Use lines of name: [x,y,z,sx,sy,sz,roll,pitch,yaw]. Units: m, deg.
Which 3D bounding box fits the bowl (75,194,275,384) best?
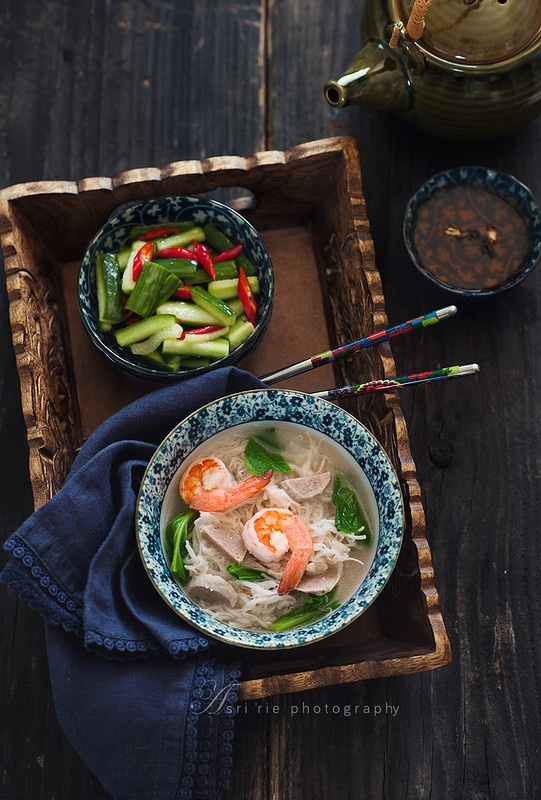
bowl: [-0.316,-0.282,2.391,0.574,0.251,0.549,0,83,-4]
